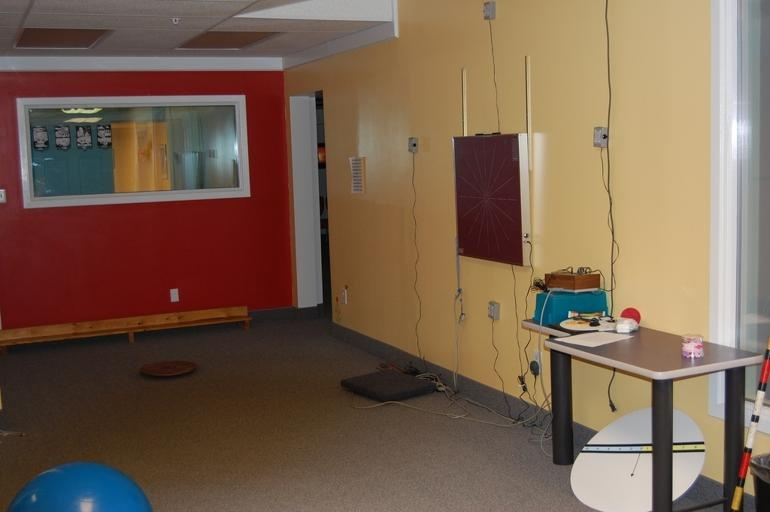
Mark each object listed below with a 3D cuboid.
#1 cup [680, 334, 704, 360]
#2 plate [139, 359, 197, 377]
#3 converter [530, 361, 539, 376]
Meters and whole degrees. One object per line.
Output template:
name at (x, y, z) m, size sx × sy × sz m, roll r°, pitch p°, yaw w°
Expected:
cup at (1.767, 0.523, 3.475) m, size 0.123 × 0.129 × 0.127 m, roll 0°, pitch 6°, yaw 0°
plate at (-2.284, 1.188, 6.423) m, size 0.597 × 0.051 × 0.481 m, roll -1°, pitch 11°, yaw 4°
converter at (1.185, 0.892, 4.792) m, size 0.076 × 0.106 × 0.030 m, roll -1°, pitch -3°, yaw -12°
